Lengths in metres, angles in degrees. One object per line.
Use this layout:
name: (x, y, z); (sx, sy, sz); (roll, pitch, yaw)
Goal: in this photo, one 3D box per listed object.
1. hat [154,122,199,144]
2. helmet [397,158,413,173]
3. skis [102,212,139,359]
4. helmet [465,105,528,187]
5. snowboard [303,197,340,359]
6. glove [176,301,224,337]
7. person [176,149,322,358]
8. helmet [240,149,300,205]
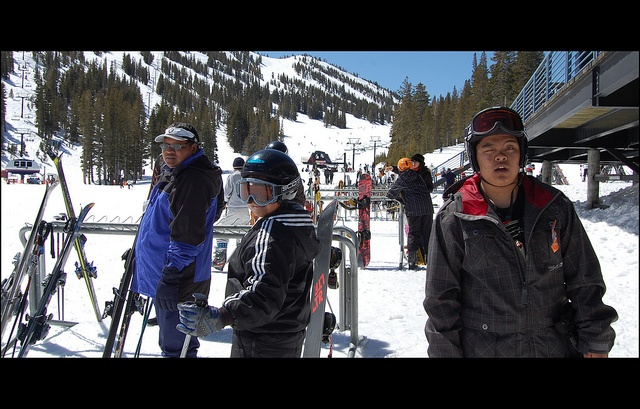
hat: (-1.695, -0.862, 5.841); (0.279, 0.196, 0.393); (5, -6, 45)
helmet: (1.748, -0.839, 10.054); (0.236, 0.287, 0.309); (8, 19, 24)
skis: (-3.006, 1.229, 7.266); (0.257, 1.819, 0.252); (14, -18, -15)
helmet: (1.582, -0.531, 4.492); (0.482, 0.577, 0.615); (-2, -17, 15)
snowboard: (0.026, 0.805, 5.044); (0.206, 1.912, 0.217); (8, -8, -27)
glove: (-1.057, 1.002, 4.285); (0.366, 0.269, 0.172); (8, 8, 8)
person: (-0.567, 0.490, 4.600); (1.133, 1.927, 0.602); (2, 0, -9)
helmet: (-0.455, -0.258, 4.654); (0.445, 0.490, 0.597); (0, -6, 40)
